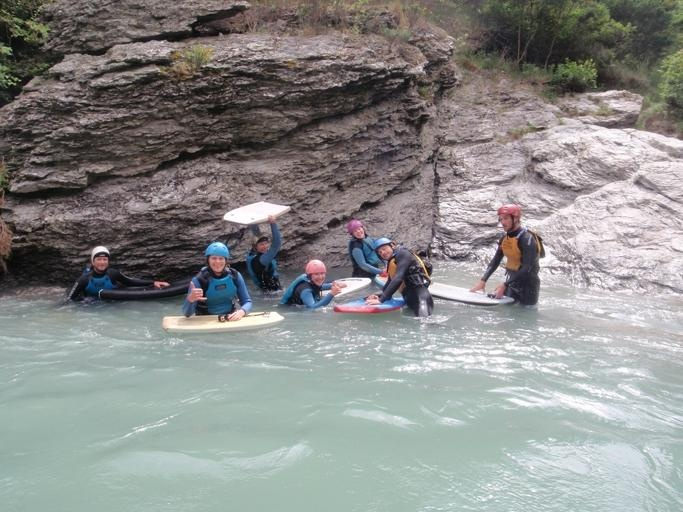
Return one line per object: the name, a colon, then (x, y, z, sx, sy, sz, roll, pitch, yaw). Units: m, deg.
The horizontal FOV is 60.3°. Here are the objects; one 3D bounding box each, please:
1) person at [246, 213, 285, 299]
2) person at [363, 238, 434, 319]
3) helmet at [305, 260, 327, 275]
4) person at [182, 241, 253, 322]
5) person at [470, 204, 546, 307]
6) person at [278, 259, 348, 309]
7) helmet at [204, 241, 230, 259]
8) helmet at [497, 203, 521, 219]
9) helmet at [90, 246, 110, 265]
person: (-1.485, -0.002, 11.201, 0.746, 0.667, 1.844, -10, -21, -1)
person: (0.922, 0.412, 10.074, 1.285, 0.534, 1.601, 4, 27, 4)
helmet: (-0.449, 0.179, 9.859, 0.269, 0.195, 0.318, -2, -10, -40)
person: (-1.862, 0.369, 8.921, 1.016, 1.153, 0.646, 1, 6, -25)
person: (2.963, -0.027, 10.010, 0.778, 1.707, 0.907, 1, 6, -26)
person: (-0.500, 0.457, 9.972, 0.891, 0.800, 0.517, 6, 5, 36)
helmet: (-1.841, -0.087, 8.770, 0.356, 0.252, 0.355, 3, 13, -14)
helmet: (2.911, -0.777, 9.949, 0.494, 0.181, 0.300, -3, 9, -18)
helmet: (-4.254, -0.046, 10.389, 0.362, 0.244, 0.397, 6, 0, -31)
